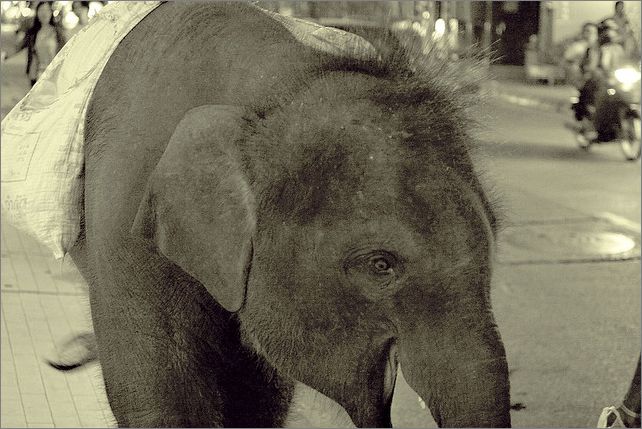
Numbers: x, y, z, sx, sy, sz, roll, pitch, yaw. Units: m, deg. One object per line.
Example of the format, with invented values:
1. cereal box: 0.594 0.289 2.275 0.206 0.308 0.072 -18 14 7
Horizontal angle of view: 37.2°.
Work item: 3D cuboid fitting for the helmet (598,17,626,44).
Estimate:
1. helmet: 4.577 -2.870 14.898 0.400 0.427 0.139 -23 11 -40
